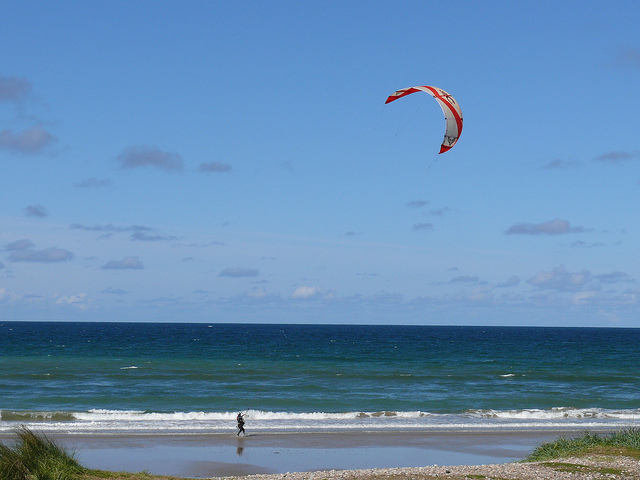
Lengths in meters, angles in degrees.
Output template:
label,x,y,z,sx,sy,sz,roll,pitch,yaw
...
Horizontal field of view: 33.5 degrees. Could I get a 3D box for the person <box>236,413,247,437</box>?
label,x,y,z,sx,sy,sz,roll,pitch,yaw
person,-5.725,13.552,78.592,0.652,1.641,0.987,-2,0,-7
